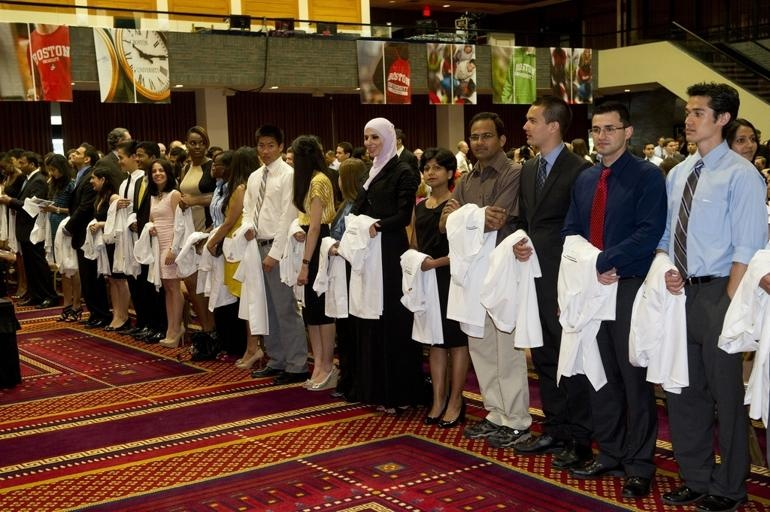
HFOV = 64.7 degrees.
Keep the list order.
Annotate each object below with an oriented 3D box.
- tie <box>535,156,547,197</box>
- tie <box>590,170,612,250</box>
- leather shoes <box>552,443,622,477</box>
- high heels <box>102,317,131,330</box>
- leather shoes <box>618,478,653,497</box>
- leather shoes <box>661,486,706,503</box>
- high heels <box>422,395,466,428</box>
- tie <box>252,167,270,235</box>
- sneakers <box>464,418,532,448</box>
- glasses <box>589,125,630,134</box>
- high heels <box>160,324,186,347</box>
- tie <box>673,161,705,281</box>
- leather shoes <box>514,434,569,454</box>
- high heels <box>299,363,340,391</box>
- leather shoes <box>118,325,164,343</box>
[{"bbox_3d":[1.028,-0.518,3.979,0.078,0.226,0.087,5,12,38],"label":"tie"},{"bbox_3d":[1.292,-0.278,3.648,0.105,0.469,0.135,2,11,28],"label":"tie"},{"bbox_3d":[1.262,1.262,3.807,0.381,0.166,0.158,2,-3,15],"label":"leather shoes"},{"bbox_3d":[-3.389,0.882,7.696,0.327,0.140,0.168,3,-3,-2],"label":"high heels"},{"bbox_3d":[1.449,1.334,3.537,0.075,0.086,0.204,-5,-7,41],"label":"leather shoes"},{"bbox_3d":[1.683,1.332,3.414,0.217,0.066,0.091,1,-12,-7],"label":"leather shoes"},{"bbox_3d":[0.474,1.179,4.591,0.289,0.130,0.154,-3,0,-41],"label":"high heels"},{"bbox_3d":[-1.114,-0.509,5.509,0.087,0.661,0.049,10,-7,14],"label":"tie"},{"bbox_3d":[0.783,1.250,4.266,0.333,0.144,0.194,4,-6,5],"label":"sneakers"},{"bbox_3d":[1.333,-0.738,3.584,0.168,0.044,0.060,0,9,17],"label":"glasses"},{"bbox_3d":[-2.397,0.933,6.993,0.310,0.231,0.171,3,-3,-30],"label":"high heels"},{"bbox_3d":[1.704,-0.201,3.429,0.112,0.649,0.180,6,13,41],"label":"tie"},{"bbox_3d":[1.047,1.242,4.093,0.353,0.166,0.129,1,-6,3],"label":"leather shoes"},{"bbox_3d":[-0.578,1.090,5.462,0.322,0.181,0.175,-2,1,-27],"label":"high heels"},{"bbox_3d":[-2.875,0.945,7.259,0.414,0.184,0.132,10,3,19],"label":"leather shoes"}]
